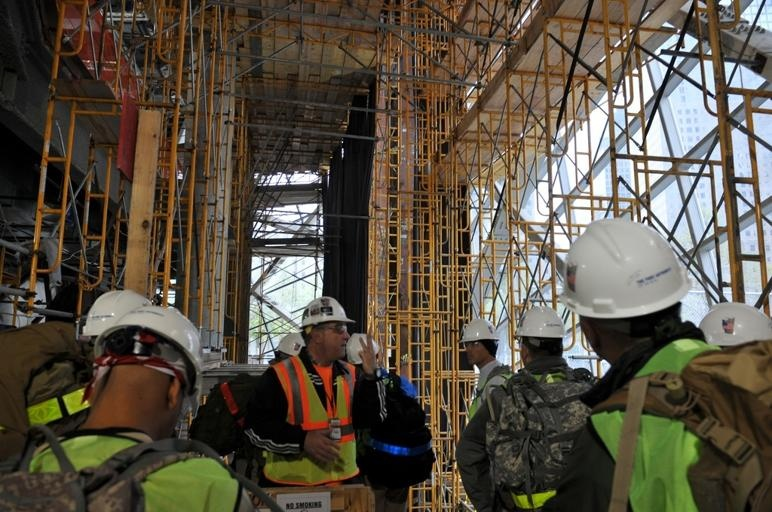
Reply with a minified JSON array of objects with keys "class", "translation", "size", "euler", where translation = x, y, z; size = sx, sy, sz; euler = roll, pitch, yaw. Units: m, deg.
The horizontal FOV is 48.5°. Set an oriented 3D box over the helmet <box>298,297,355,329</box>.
[{"class":"helmet","translation":[-0.831,0.770,11.489],"size":[0.503,0.331,0.440],"euler":[-10,-12,12]}]
